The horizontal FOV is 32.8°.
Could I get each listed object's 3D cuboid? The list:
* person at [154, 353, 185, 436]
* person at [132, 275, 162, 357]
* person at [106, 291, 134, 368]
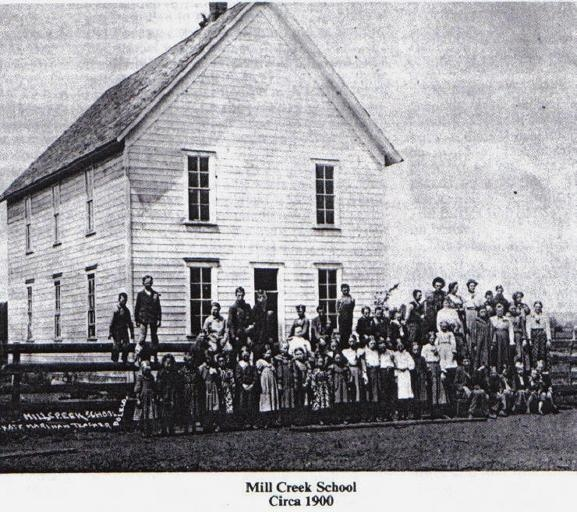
[{"bbox_3d":[-1.727,2.035,14.327,0.406,1.122,0.215,2,-12,-8],"label":"person"},{"bbox_3d":[-2.086,0.937,14.636,0.402,1.289,0.105,2,-12,-8],"label":"person"},{"bbox_3d":[-2.480,1.079,14.629,0.363,1.039,0.155,1,-12,-3],"label":"person"}]
